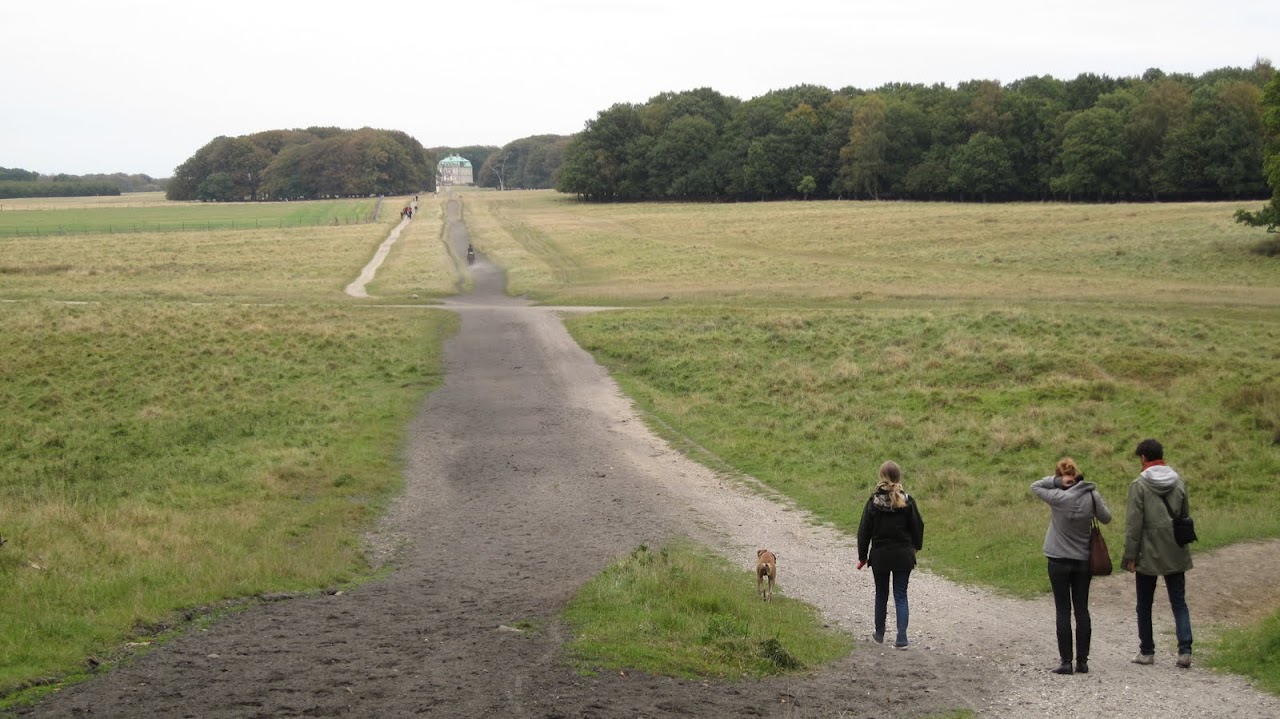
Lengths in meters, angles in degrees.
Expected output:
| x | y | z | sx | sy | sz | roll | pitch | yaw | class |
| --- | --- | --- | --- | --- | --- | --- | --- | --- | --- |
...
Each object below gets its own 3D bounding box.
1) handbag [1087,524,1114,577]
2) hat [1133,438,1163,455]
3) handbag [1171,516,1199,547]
| x | y | z | sx | sy | sz | roll | pitch | yaw | class |
| --- | --- | --- | --- | --- | --- | --- | --- | --- | --- |
| 18.176 | 7.634 | 47.820 | 0.750 | 2.111 | 0.670 | 5 | 10 | 32 | handbag |
| 20.432 | 3.564 | 48.620 | 0.937 | 0.816 | 0.993 | 4 | 7 | 16 | hat |
| 21.568 | 6.857 | 47.948 | 0.994 | 1.196 | 0.351 | -3 | 9 | -16 | handbag |
